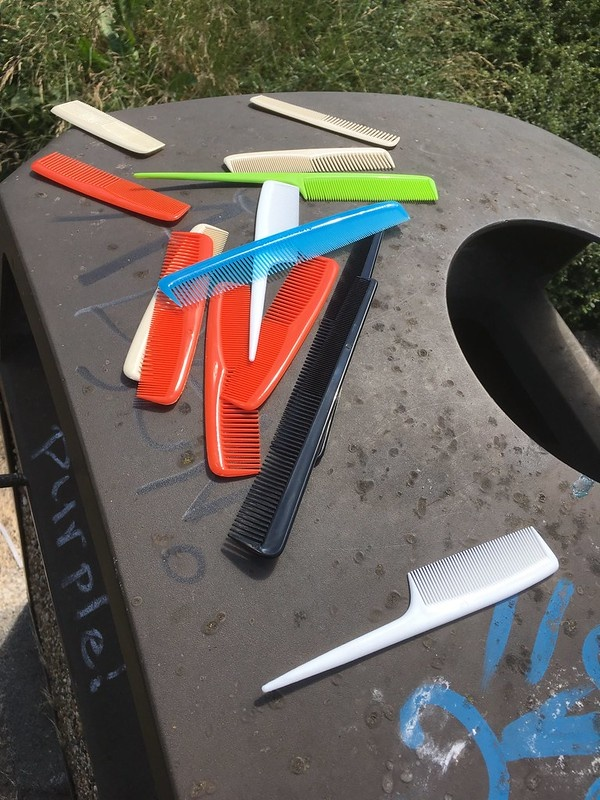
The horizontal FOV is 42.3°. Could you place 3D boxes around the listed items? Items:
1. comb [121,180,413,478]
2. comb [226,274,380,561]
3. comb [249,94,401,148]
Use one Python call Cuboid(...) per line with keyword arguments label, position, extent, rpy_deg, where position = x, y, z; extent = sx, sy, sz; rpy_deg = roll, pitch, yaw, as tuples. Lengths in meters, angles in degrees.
Cuboid(label="comb", position=(-0.097, -0.135, 1.418), extent=(0.412, 0.149, 0.505), rpy_deg=(4, 67, 0))
Cuboid(label="comb", position=(0.059, -0.020, 1.435), extent=(0.113, 0.056, 0.724), rpy_deg=(8, 54, 25))
Cuboid(label="comb", position=(0.050, -0.649, 1.814), extent=(0.334, 0.014, 0.073), rpy_deg=(26, 49, 12))
